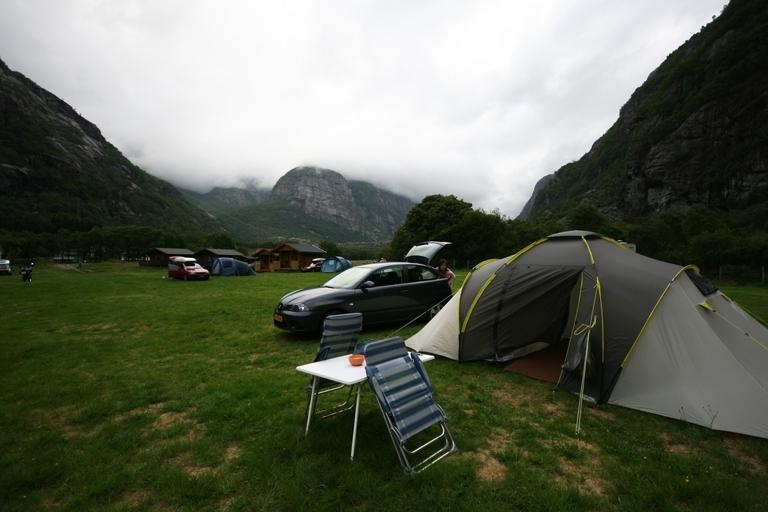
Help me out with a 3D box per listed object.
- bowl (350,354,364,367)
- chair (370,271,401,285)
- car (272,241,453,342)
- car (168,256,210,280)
[{"bbox_3d":[-0.521,2.079,7.861,0.234,0.107,0.224,-2,1,0],"label":"bowl"},{"bbox_3d":[0.145,0.698,12.864,0.747,0.238,0.499,-4,19,-16],"label":"chair"},{"bbox_3d":[-0.597,1.259,13.014,5.479,1.678,2.447,0,-5,-30],"label":"car"},{"bbox_3d":[-14.650,0.946,29.936,3.243,1.382,1.807,1,2,33],"label":"car"}]
